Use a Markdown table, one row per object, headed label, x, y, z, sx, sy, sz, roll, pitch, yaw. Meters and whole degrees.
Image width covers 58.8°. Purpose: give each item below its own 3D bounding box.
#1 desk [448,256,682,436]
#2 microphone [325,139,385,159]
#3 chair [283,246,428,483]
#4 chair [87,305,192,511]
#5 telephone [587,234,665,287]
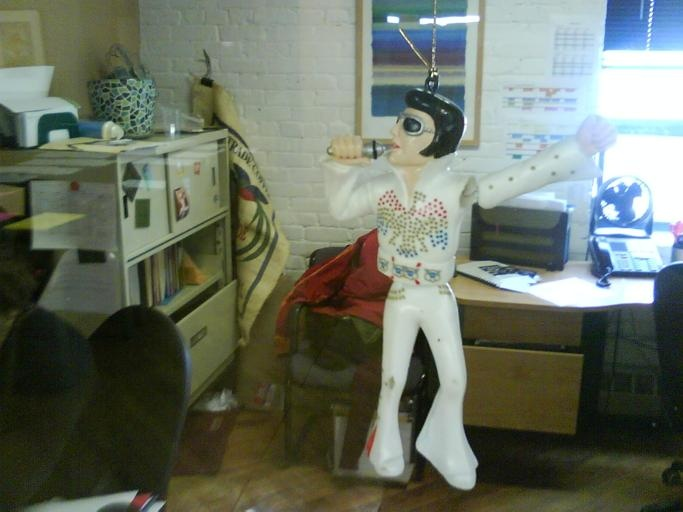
| label | x | y | z | sx | sy | sz | roll | pitch | yaw |
| --- | --- | --- | --- | --- | --- | --- | --- | --- | --- |
| desk | 0.580 | 0.207 | 1.658 | 0.514 | 0.355 | 0.467 | 1 | 5 | 16 |
| microphone | 0.025 | -0.215 | 1.227 | 0.142 | 0.054 | 0.040 | 1 | 10 | 9 |
| chair | 0.029 | 0.247 | 1.389 | 0.359 | 0.487 | 0.222 | 5 | 19 | 8 |
| chair | -0.413 | 0.293 | 1.236 | 0.161 | 0.334 | 0.262 | -15 | 25 | -41 |
| telephone | 0.729 | 0.008 | 1.571 | 0.195 | 0.137 | 0.069 | -3 | -15 | -12 |
